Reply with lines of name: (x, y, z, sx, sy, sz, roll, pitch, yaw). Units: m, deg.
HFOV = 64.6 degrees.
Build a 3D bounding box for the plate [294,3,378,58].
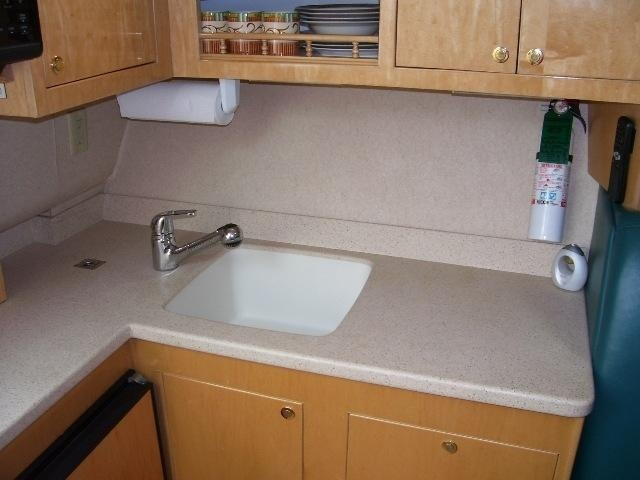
plate: (0.044, -0.568, 1.445, 0.188, 0.080, 0.186, -25, 34, -38)
